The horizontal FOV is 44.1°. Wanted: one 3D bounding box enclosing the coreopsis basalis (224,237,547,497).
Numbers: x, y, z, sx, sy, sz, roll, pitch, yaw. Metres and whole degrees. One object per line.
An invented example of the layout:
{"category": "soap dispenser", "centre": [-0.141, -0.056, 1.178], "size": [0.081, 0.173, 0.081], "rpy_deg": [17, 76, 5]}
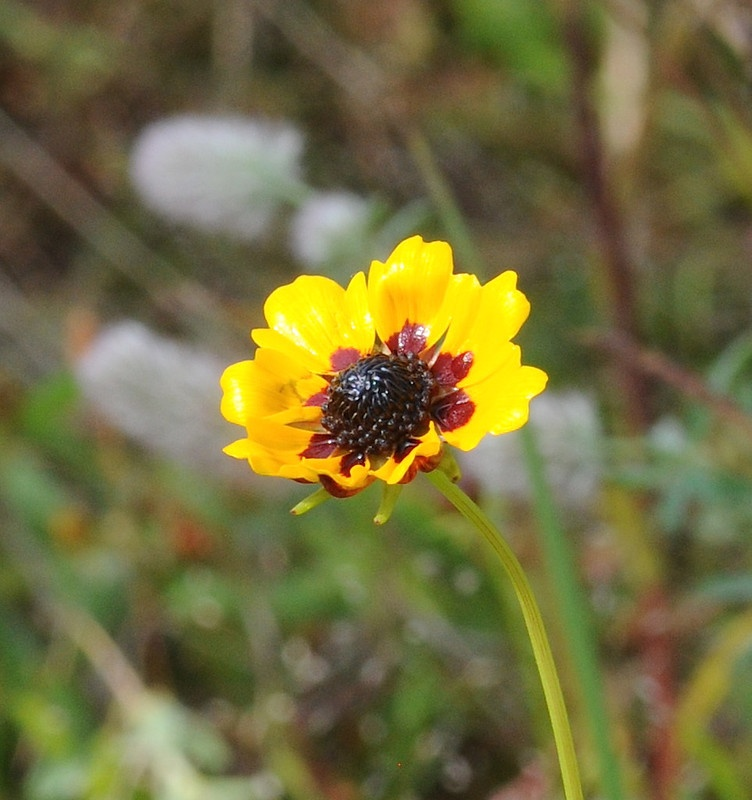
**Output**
{"category": "coreopsis basalis", "centre": [-0.005, -0.020, 0.516], "size": [0.179, 0.079, 0.140], "rpy_deg": [-13, 83, -2]}
